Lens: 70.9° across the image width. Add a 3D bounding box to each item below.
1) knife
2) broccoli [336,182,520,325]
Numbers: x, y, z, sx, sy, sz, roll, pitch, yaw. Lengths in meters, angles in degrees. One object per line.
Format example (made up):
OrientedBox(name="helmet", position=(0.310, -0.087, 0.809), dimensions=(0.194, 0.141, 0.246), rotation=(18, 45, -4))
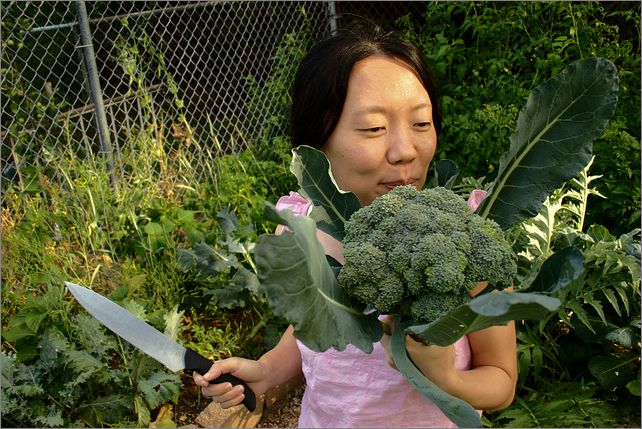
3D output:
OrientedBox(name="knife", position=(-1.089, 0.852, 2.876), dimensions=(1.629, 0.132, 0.295), rotation=(36, 50, -8))
OrientedBox(name="broccoli", position=(0.436, 0.167, 1.829), dimensions=(0.707, 0.531, 0.273), rotation=(7, 11, 3))
